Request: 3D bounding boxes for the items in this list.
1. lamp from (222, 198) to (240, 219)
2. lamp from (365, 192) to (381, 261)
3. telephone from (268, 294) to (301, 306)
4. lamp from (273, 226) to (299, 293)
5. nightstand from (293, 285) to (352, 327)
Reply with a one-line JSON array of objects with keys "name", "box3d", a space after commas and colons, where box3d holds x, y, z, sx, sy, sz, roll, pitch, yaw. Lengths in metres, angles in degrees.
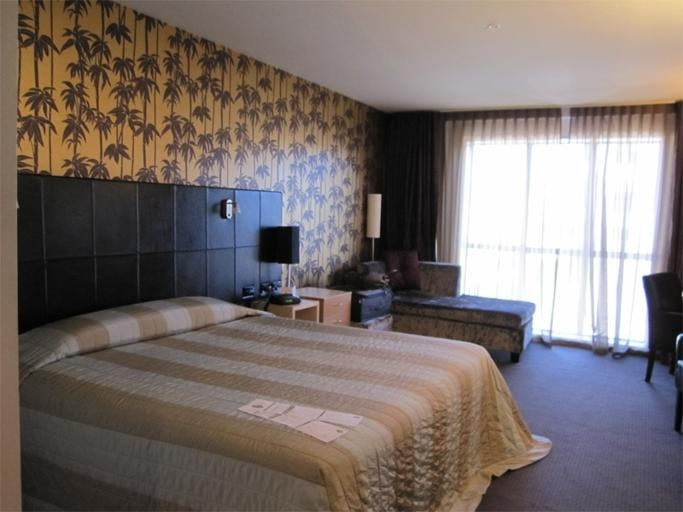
[{"name": "lamp", "box3d": [-1.000, -0.419, 4.583, 0.055, 0.178, 0.224, 8, 14, 26]}, {"name": "lamp", "box3d": [0.415, -0.373, 6.750, 0.190, 0.929, 0.502, 2, 13, 2]}, {"name": "telephone", "box3d": [-0.545, 0.413, 4.721, 0.149, 0.064, 0.160, -1, 0, 38]}, {"name": "lamp", "box3d": [-0.549, -0.103, 5.023, 0.239, 0.390, 0.183, 11, 16, 32]}, {"name": "nightstand", "box3d": [-0.195, 0.501, 5.279, 0.422, 0.408, 0.422, 3, 5, 30]}]
